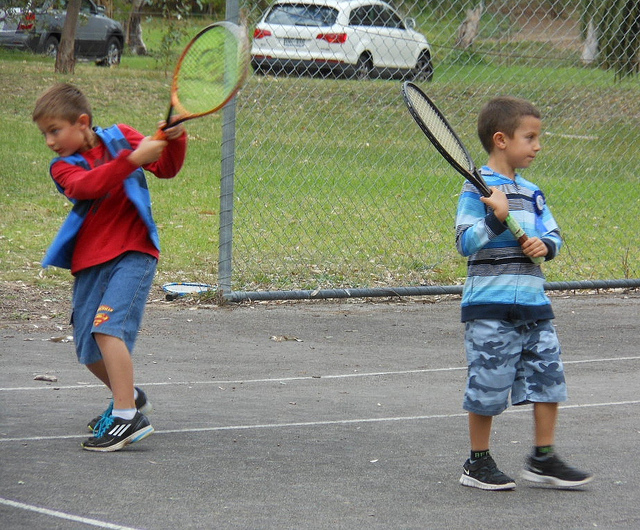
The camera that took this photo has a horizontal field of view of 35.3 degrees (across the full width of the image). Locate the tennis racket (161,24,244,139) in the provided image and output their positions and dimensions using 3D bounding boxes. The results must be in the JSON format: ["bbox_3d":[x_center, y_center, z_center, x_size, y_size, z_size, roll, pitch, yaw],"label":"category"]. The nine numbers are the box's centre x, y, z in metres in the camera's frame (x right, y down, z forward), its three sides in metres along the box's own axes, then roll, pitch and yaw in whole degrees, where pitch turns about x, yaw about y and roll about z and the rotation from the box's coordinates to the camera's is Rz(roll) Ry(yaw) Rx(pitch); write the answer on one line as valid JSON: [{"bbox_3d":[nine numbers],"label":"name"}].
[{"bbox_3d":[-0.552,-0.913,4.885,0.053,0.686,0.250,18,26,-46],"label":"tennis racket"}]

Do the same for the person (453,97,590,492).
[{"bbox_3d":[0.936,0.114,4.808,0.602,1.782,0.711,3,12,5],"label":"person"}]

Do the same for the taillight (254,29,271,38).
[{"bbox_3d":[-0.432,-1.729,7.558,0.128,0.056,0.104,-2,12,-20],"label":"taillight"}]

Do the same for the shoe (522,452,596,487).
[{"bbox_3d":[1.089,0.951,4.716,0.386,0.155,0.128,1,0,1],"label":"shoe"}]

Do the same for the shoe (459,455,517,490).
[{"bbox_3d":[0.783,0.956,4.692,0.126,0.134,0.308,-7,4,-33],"label":"shoe"}]

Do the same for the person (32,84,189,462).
[{"bbox_3d":[-1.030,-0.002,5.047,0.689,1.759,0.645,-6,14,-32],"label":"person"}]
